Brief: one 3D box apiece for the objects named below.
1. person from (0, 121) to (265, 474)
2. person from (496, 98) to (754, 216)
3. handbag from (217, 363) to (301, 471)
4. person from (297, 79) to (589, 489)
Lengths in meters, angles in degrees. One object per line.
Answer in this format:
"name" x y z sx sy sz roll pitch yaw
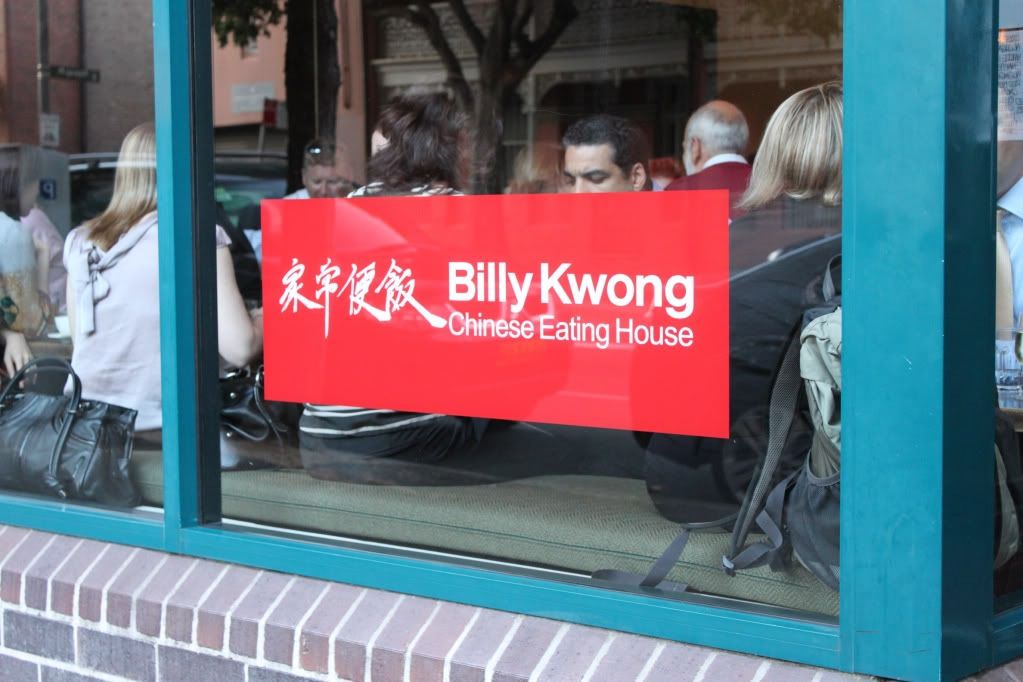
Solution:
"person" -1.310 -0.187 4.500 0.961 1.161 0.247 11 17 41
"person" 0.422 -0.565 3.891 0.914 0.417 0.315 0 6 5
"handbag" -0.876 0.245 4.314 0.298 0.312 0.153 4 23 12
"person" -0.364 -0.163 4.242 0.757 1.270 0.936 -3 13 -11
